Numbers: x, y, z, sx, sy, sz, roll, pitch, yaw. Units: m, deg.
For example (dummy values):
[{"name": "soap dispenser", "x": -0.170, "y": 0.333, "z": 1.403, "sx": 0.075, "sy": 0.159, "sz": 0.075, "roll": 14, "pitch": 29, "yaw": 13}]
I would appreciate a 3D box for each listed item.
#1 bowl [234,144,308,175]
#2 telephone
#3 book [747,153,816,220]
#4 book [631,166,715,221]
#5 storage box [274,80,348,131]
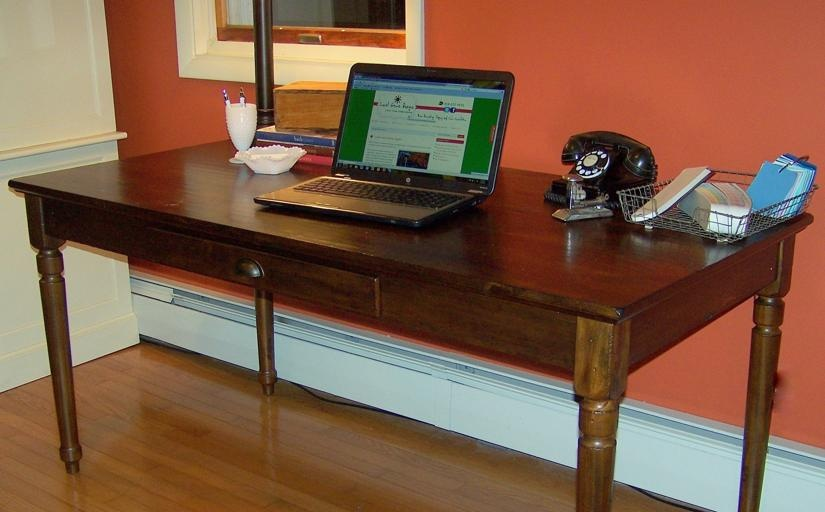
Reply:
[{"name": "bowl", "x": -0.487, "y": -0.333, "z": 2.189, "sx": 0.156, "sy": 0.041, "sz": 0.147, "roll": -2, "pitch": 18, "yaw": 1}, {"name": "telephone", "x": 0.569, "y": -0.264, "z": 1.906, "sx": 0.263, "sy": 0.197, "sz": 0.345, "roll": -18, "pitch": 26, "yaw": -31}, {"name": "book", "x": 0.994, "y": -0.198, "z": 1.738, "sx": 0.169, "sy": 0.201, "sz": 0.073, "roll": 23, "pitch": 7, "yaw": 27}, {"name": "book", "x": 0.707, "y": -0.164, "z": 1.746, "sx": 0.185, "sy": 0.168, "sz": 0.121, "roll": -18, "pitch": 34, "yaw": -40}, {"name": "storage box", "x": -0.361, "y": -0.527, "z": 2.277, "sx": 0.296, "sy": 0.118, "sz": 0.189, "roll": 4, "pitch": 21, "yaw": 9}]
